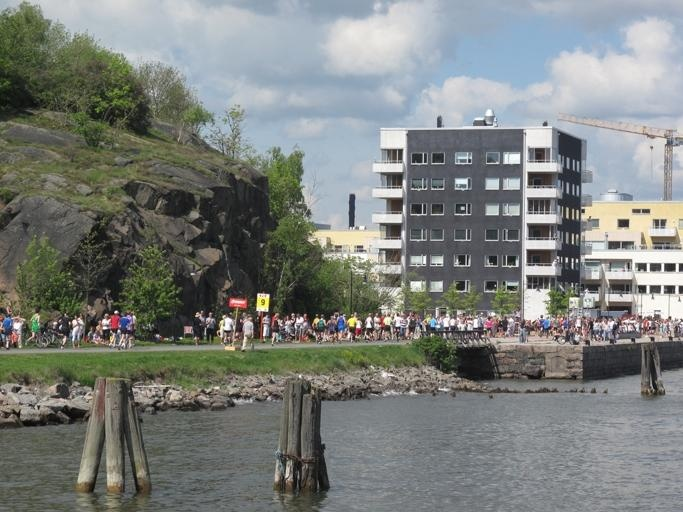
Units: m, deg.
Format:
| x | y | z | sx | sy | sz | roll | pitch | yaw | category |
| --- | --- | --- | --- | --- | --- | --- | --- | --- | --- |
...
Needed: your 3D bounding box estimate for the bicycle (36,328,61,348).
| x | y | z | sx | sy | sz | roll | pitch | yaw | category |
| --- | --- | --- | --- | --- | --- | --- | --- | --- | --- |
| -20.793 | 5.922 | 88.470 | 1.869 | 1.309 | 0.987 | 0 | -1 | 1 | bicycle |
